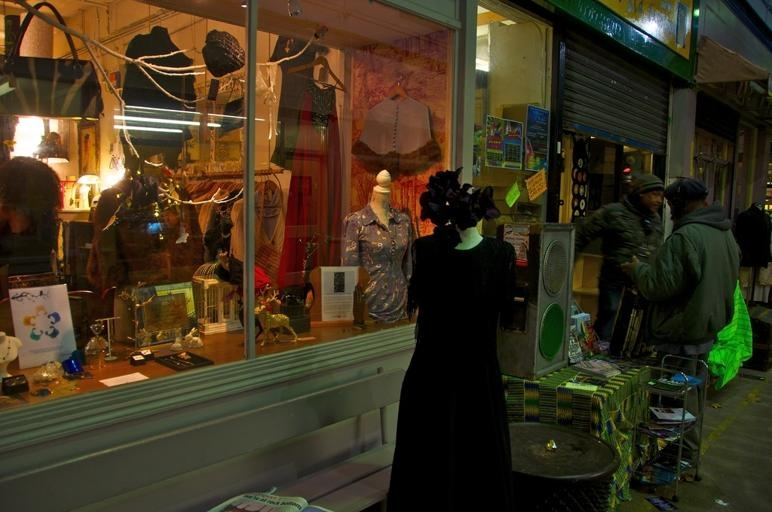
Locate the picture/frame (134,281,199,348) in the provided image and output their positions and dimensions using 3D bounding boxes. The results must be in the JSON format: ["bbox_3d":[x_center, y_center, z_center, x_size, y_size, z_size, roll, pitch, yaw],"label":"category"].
[{"bbox_3d":[-1.176,0.311,2.998,0.333,0.321,0.118,-3,-2,-38],"label":"picture/frame"}]

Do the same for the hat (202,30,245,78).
[{"bbox_3d":[-0.886,-1.098,3.082,0.205,0.278,0.144,-11,-2,-41],"label":"hat"}]

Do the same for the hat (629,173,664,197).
[{"bbox_3d":[2.215,-0.604,4.810,0.209,0.132,0.206,0,7,-17],"label":"hat"}]

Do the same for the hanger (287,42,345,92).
[{"bbox_3d":[-0.459,-1.208,3.622,0.357,0.210,0.017,10,-5,-44],"label":"hanger"}]

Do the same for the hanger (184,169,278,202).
[{"bbox_3d":[-0.857,-0.398,3.198,0.484,0.181,0.148,-9,11,-11],"label":"hanger"}]

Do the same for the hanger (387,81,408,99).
[{"bbox_3d":[0.075,-1.147,3.926,0.114,0.075,0.029,-2,21,-9],"label":"hanger"}]
